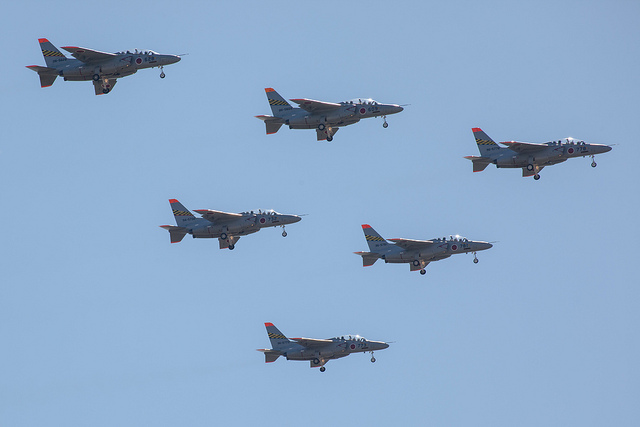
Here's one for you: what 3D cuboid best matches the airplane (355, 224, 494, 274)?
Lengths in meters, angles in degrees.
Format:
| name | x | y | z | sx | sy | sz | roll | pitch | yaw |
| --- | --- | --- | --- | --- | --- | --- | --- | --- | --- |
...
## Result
| name | x | y | z | sx | sy | sz | roll | pitch | yaw |
| --- | --- | --- | --- | --- | --- | --- | --- | --- | --- |
| airplane | 9.786 | 2.973 | 115.113 | 12.083 | 9.835 | 4.351 | -7 | -77 | 1 |
